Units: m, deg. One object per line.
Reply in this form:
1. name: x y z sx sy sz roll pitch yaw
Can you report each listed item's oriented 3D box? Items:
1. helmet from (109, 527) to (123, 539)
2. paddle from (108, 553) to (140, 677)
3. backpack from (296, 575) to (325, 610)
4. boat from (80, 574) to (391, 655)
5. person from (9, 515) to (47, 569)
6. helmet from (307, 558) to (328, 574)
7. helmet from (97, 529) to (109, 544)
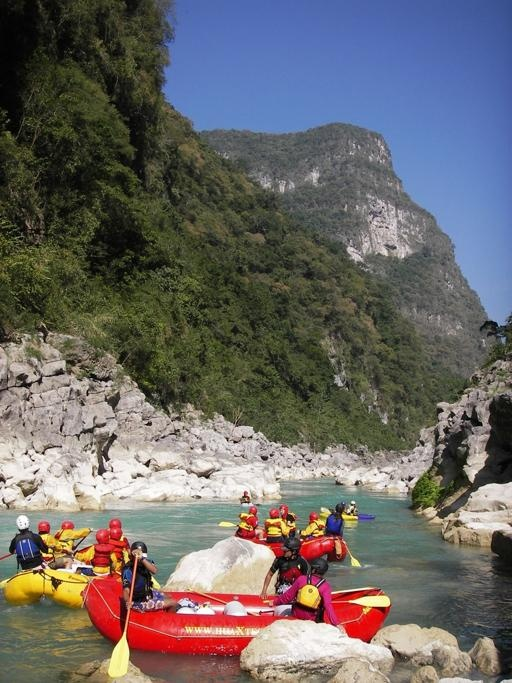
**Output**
1. helmet: -1.927 2.601 8.414 0.155 0.149 0.153 4 17 -5
2. paddle: -1.320 2.680 6.117 0.217 1.091 1.079 4 -6 -10
3. backpack: 0.584 2.610 6.397 0.212 0.273 0.276 11 -39 18
4. boat: -0.209 3.152 6.947 2.686 0.716 1.320 6 -10 -1
5. person: -3.203 2.847 8.645 0.510 0.775 0.529 5 -6 -19
6. helmet: 0.666 2.393 6.511 0.178 0.201 0.202 3 -6 2
7. helmet: -2.133 2.681 8.548 0.185 0.209 0.183 0 -3 0
